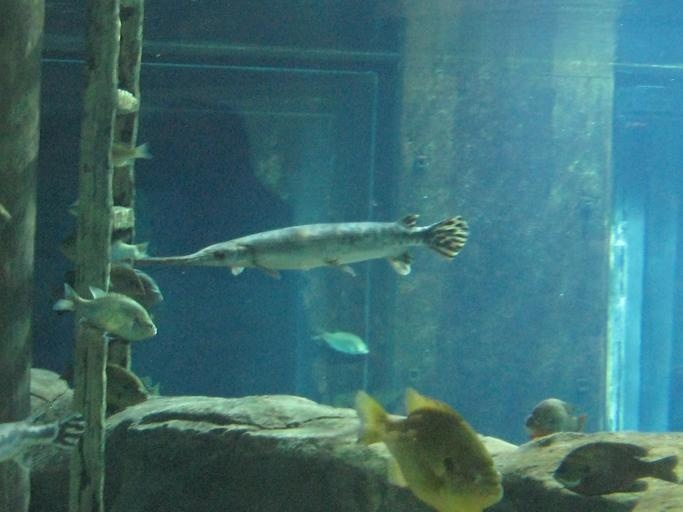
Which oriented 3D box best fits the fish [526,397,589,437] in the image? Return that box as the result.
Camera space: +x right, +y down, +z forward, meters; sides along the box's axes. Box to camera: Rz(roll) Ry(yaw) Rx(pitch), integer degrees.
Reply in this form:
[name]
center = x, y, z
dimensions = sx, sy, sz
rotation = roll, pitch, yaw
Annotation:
[fish]
center = 2.873, 2.099, 15.429
dimensions = 0.641, 0.464, 0.571
rotation = -11, 10, -10
